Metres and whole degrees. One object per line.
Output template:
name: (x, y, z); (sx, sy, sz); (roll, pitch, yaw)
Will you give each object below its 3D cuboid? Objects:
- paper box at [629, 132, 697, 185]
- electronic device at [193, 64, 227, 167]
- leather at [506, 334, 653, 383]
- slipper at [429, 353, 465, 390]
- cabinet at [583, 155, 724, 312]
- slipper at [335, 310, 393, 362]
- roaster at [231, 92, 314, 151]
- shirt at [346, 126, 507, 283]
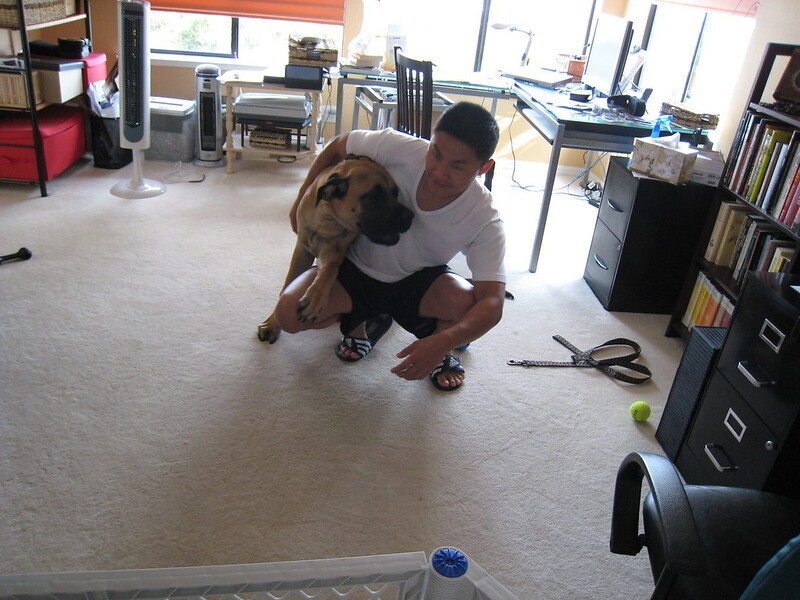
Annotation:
paper box: (1.268, -0.674, 2.770); (0.137, 0.240, 0.260); (-6, 35, -41)
electronic device: (-1.390, -1.340, 4.151); (0.261, 0.665, 0.254); (-2, 37, -17)
leather: (0.821, 0.264, 2.514); (0.458, 0.051, 0.254); (1, 28, 5)
slipper: (0.204, 0.256, 2.373); (0.130, 0.097, 0.346); (-7, 17, 5)
cabinet: (1.313, -0.321, 3.063); (0.553, 0.687, 0.560); (-4, 26, -17)
slipper: (-0.149, 0.158, 2.386); (0.117, 0.072, 0.304); (28, 42, 11)
roaster: (-0.926, -1.316, 4.264); (0.528, 0.346, 0.349); (4, 20, -4)
shirt: (0.086, -0.302, 2.069); (0.694, 0.544, 0.169); (18, 26, 26)
